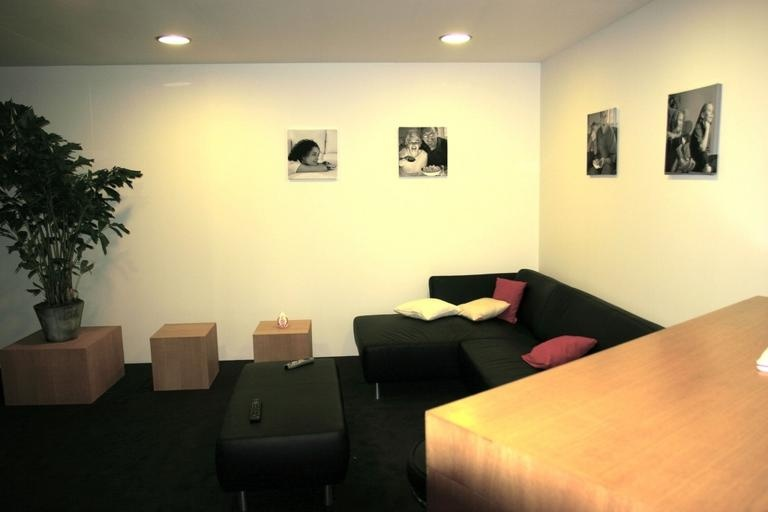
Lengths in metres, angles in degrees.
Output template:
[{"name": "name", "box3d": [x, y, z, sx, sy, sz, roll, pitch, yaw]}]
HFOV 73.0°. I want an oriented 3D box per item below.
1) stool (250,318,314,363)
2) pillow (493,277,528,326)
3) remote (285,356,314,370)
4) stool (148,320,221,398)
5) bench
[{"name": "stool", "box3d": [-0.985, 0.845, 5.104, 0.559, 0.295, 0.575, -2, 7, -13]}, {"name": "pillow", "box3d": [1.271, 0.474, 5.232, 0.237, 0.416, 0.443, -3, 3, -31]}, {"name": "remote", "box3d": [-0.681, 0.871, 4.246, 0.258, 0.060, 0.081, -5, 9, -43]}, {"name": "stool", "box3d": [-1.944, 0.977, 5.084, 0.577, 0.558, 0.463, -1, 7, -12]}, {"name": "bench", "box3d": [-0.678, 1.198, 3.672, 0.812, 0.496, 0.882, -1, 7, -7]}]
